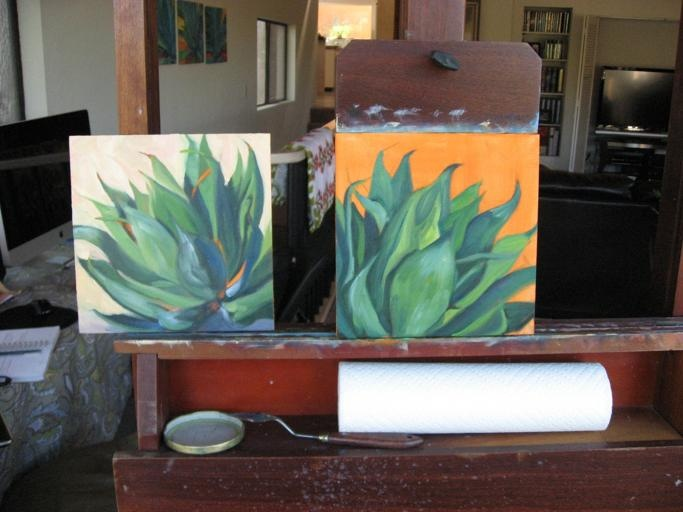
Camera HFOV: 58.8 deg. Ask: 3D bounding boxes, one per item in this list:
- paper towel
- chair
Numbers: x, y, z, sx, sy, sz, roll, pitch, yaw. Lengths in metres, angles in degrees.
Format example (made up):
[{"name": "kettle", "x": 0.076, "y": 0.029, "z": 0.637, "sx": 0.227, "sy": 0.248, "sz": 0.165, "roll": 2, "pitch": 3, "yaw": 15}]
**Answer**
[{"name": "paper towel", "x": 0.269, "y": 0.298, "z": 1.277, "sx": 0.540, "sy": 0.171, "sz": 0.165, "roll": 0, "pitch": -6, "yaw": 4}, {"name": "chair", "x": 1.394, "y": -0.043, "z": 3.309, "sx": 0.738, "sy": 0.770, "sz": 0.426, "roll": 1, "pitch": 16, "yaw": 11}]
